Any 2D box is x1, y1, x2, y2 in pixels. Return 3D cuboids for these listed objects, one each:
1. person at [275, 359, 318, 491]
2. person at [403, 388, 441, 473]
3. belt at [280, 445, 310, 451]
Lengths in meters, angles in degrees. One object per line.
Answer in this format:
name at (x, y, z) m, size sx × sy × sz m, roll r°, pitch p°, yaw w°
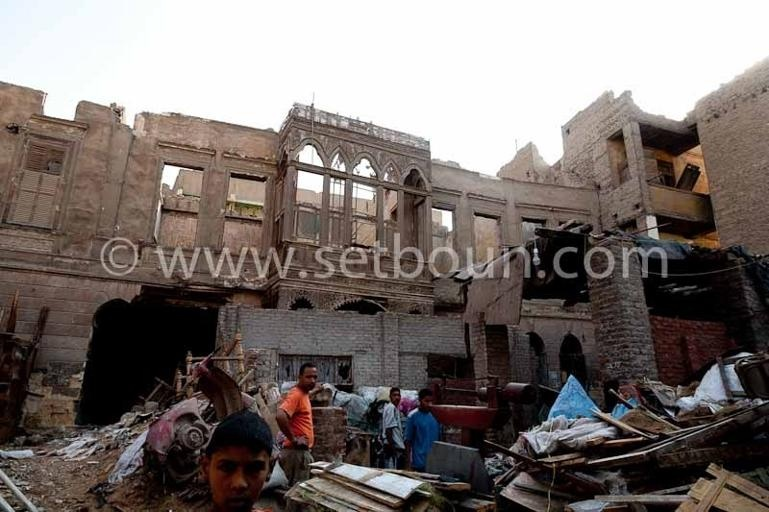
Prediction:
person at (-1.497, 2.823, 8.337) m, size 0.609 × 1.957 × 0.576 m, roll 3°, pitch -16°, yaw -9°
person at (0.715, 3.342, 9.609) m, size 0.647 × 1.484 × 0.357 m, roll -1°, pitch -16°, yaw 2°
belt at (-1.477, 3.215, 8.312) m, size 0.235 × 0.057 × 0.240 m, roll 9°, pitch -12°, yaw -24°
